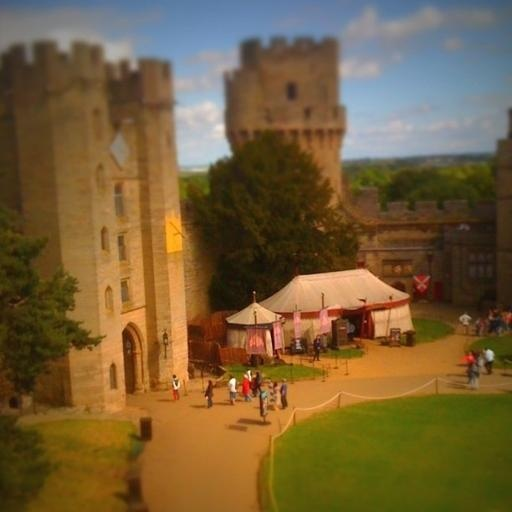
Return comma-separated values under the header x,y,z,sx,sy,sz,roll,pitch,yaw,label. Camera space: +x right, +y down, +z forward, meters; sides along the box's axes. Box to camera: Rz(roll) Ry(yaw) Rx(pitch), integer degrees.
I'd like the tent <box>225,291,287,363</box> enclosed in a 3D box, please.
x,y,z,sx,sy,sz,roll,pitch,yaw,label
0.365,3.652,41.522,2.721,3.313,3.021,0,-2,-26,tent

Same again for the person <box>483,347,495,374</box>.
x,y,z,sx,sy,sz,roll,pitch,yaw,label
10.900,4.811,38.643,0.453,1.293,2.308,2,8,18,person

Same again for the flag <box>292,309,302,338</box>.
x,y,z,sx,sy,sz,roll,pitch,yaw,label
2.124,3.511,42.762,0.397,1.478,0.850,0,7,4,flag

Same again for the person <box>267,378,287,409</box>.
x,y,z,sx,sy,sz,roll,pitch,yaw,label
0.928,5.527,33.783,0.773,1.201,1.453,0,8,1,person

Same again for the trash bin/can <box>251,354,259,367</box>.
x,y,z,sx,sy,sz,roll,pitch,yaw,label
-0.081,5.043,40.214,0.265,0.562,0.537,-7,10,-42,trash bin/can

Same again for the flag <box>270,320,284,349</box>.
x,y,z,sx,sy,sz,roll,pitch,yaw,label
1.020,3.867,40.905,0.120,1.702,1.397,-1,0,28,flag

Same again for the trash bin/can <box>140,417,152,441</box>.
x,y,z,sx,sy,sz,roll,pitch,yaw,label
-4.045,6.279,30.301,0.421,0.791,0.721,-2,8,-11,trash bin/can

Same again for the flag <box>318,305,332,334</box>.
x,y,z,sx,sy,sz,roll,pitch,yaw,label
3.628,3.381,43.327,0.552,1.351,1.119,6,10,41,flag

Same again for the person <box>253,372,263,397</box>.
x,y,z,sx,sy,sz,roll,pitch,yaw,label
0.067,5.407,34.553,0.362,1.148,0.869,0,7,-1,person
